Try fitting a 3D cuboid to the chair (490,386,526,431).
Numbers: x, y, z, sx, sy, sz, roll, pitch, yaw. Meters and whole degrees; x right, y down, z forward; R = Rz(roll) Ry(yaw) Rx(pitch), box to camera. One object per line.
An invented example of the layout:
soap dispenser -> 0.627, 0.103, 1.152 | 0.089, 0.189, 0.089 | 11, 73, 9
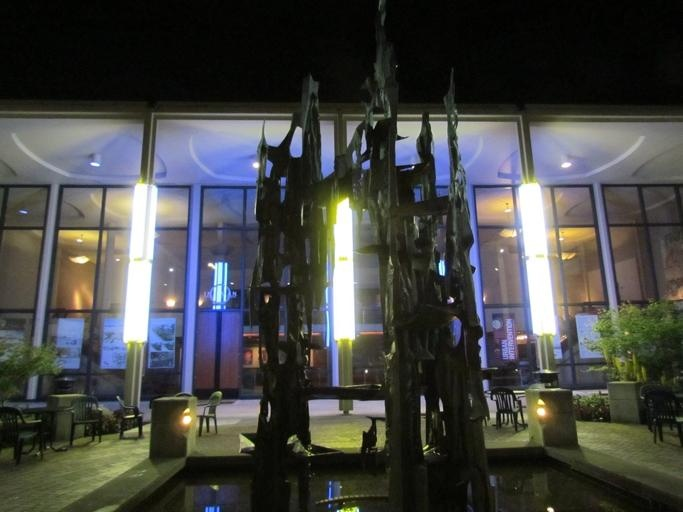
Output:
chair -> 3.909, 3.563, 12.293 | 0.704, 0.922, 1.631 | -6, -12, 18
